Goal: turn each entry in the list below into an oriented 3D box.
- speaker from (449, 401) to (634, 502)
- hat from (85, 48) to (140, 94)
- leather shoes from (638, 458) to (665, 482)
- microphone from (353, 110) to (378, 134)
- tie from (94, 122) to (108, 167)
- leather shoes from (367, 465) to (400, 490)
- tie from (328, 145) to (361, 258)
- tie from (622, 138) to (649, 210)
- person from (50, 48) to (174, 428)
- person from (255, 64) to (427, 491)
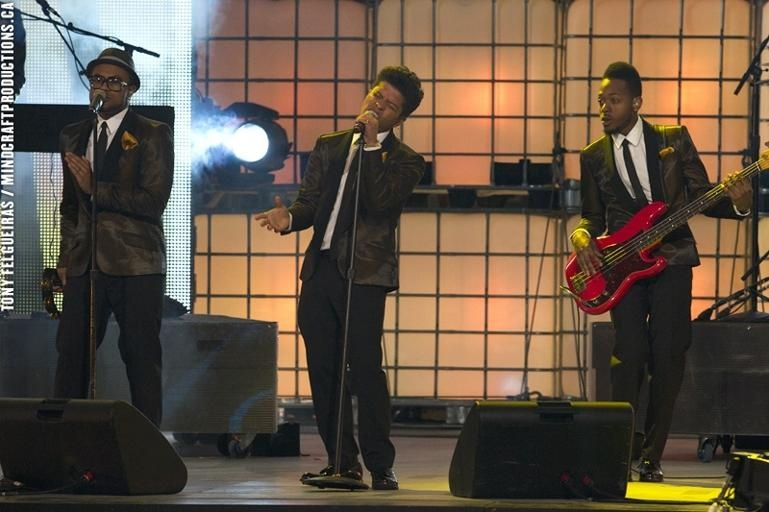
[{"bbox_3d":[0.829,1.011,8.741,0.802,0.477,0.564,1,1,-1],"label":"speaker"},{"bbox_3d":[-1.541,-1.130,9.291,0.232,0.117,0.242,18,-10,-12],"label":"hat"},{"bbox_3d":[1.487,1.188,9.073,0.146,0.118,0.150,3,3,9],"label":"leather shoes"},{"bbox_3d":[-0.097,-0.743,8.817,0.125,0.114,0.172,3,3,0],"label":"microphone"},{"bbox_3d":[-1.621,-0.630,9.242,0.085,0.023,0.353,4,-45,-7],"label":"tie"},{"bbox_3d":[-0.003,1.196,8.788,0.160,0.117,0.138,3,3,1],"label":"leather shoes"},{"bbox_3d":[-0.204,-0.327,8.919,0.190,0.564,0.045,10,-11,42],"label":"tie"},{"bbox_3d":[1.397,-0.488,9.222,0.054,0.364,0.133,0,-17,-40],"label":"tie"},{"bbox_3d":[-1.538,-0.127,9.224,0.634,2.127,0.544,2,4,-12],"label":"person"},{"bbox_3d":[-0.209,0.090,8.867,0.773,2.290,0.521,3,4,0],"label":"person"}]
